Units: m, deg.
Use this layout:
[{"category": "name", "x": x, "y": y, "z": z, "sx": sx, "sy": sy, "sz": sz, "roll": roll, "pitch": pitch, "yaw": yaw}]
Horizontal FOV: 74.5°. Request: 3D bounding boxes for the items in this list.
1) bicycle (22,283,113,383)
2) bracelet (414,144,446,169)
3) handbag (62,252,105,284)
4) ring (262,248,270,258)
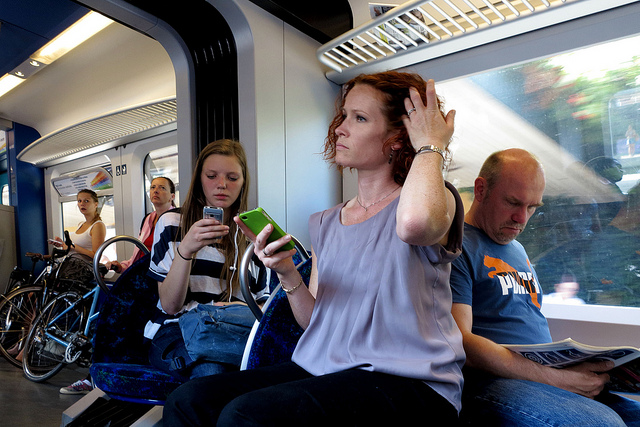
[{"category": "bicycle", "x": -2.801, "y": 1.314, "z": 4.591, "sx": 1.276, "sy": 1.155, "sz": 0.631, "roll": -1, "pitch": 0, "yaw": 39}, {"category": "bracelet", "x": 0.456, "y": -0.218, "z": 1.711, "sx": 0.099, "sy": 0.028, "sz": 0.103, "roll": 29, "pitch": -29, "yaw": -16}, {"category": "handbag", "x": -2.921, "y": 0.647, "z": 5.305, "sx": 0.484, "sy": 0.452, "sz": 0.453, "roll": 17, "pitch": -3, "yaw": -26}, {"category": "ring", "x": -0.227, "y": 0.164, "z": 1.784, "sx": 0.011, "sy": 0.029, "sz": 0.025, "roll": -36, "pitch": 30, "yaw": -2}]
